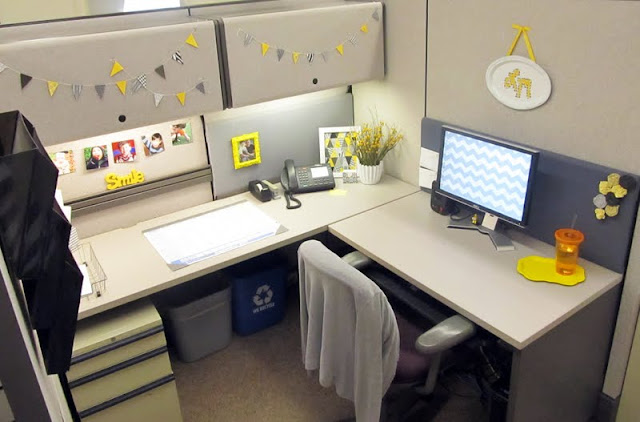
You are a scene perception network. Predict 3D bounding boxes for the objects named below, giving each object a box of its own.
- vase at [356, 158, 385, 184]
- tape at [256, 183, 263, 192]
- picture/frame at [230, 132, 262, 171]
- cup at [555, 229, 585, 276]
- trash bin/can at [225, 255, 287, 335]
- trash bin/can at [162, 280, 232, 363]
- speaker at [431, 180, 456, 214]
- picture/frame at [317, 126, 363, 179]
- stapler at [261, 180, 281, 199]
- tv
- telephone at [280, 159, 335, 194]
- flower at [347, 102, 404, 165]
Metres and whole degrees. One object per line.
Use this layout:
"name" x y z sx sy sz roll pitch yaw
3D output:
"vase" 0.357 -0.304 3.294 0.157 0.125 0.157 -21 32 -35
"tape" -0.387 -0.156 3.092 0.029 0.015 0.042 0 57 -22
"picture/frame" -0.496 -0.406 3.114 0.207 0.212 0.016 -21 31 -27
"cup" 1.272 0.183 2.414 0.127 0.198 0.221 12 28 31
"trash bin/can" -0.446 0.568 3.184 0.427 0.477 0.246 -20 32 -38
"trash bin/can" -0.788 0.700 3.013 0.406 0.398 0.289 -23 43 -25
"speaker" 0.755 -0.086 2.848 0.110 0.218 0.124 -12 24 -29
"picture/frame" 0.150 -0.415 3.306 0.353 0.441 0.030 -5 25 -8
"stapler" -0.330 -0.140 3.151 0.037 0.045 0.125 -17 36 -30
"tv" 0.955 -0.131 2.617 0.234 0.479 0.517 -27 41 -27
"telephone" -0.079 -0.249 3.245 0.347 0.182 0.234 -9 31 -15
"flower" 0.364 -0.446 3.288 0.310 0.260 0.297 -10 17 -40
